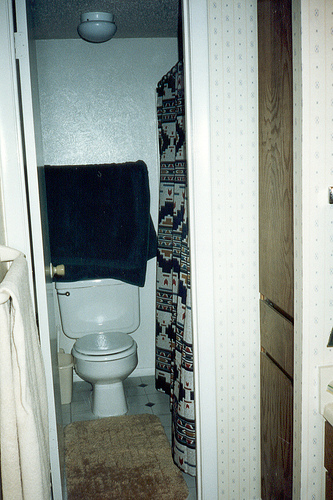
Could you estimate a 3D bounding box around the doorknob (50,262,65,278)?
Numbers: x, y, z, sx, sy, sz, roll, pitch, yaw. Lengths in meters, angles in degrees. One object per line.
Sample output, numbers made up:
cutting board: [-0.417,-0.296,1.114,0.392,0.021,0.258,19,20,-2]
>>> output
doorknob: [-0.369,0.067,1.500,0.040,0.055,0.048,-2,-7,-14]

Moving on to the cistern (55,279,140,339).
cistern: [-0.383,0.322,2.572,0.414,0.367,0.356,-2,12,-20]

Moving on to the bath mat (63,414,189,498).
bath mat: [-0.206,0.919,1.996,0.482,0.019,0.761,-4,6,-15]

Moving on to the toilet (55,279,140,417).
toilet: [-0.370,0.525,2.514,0.395,0.747,0.615,-5,3,-11]
